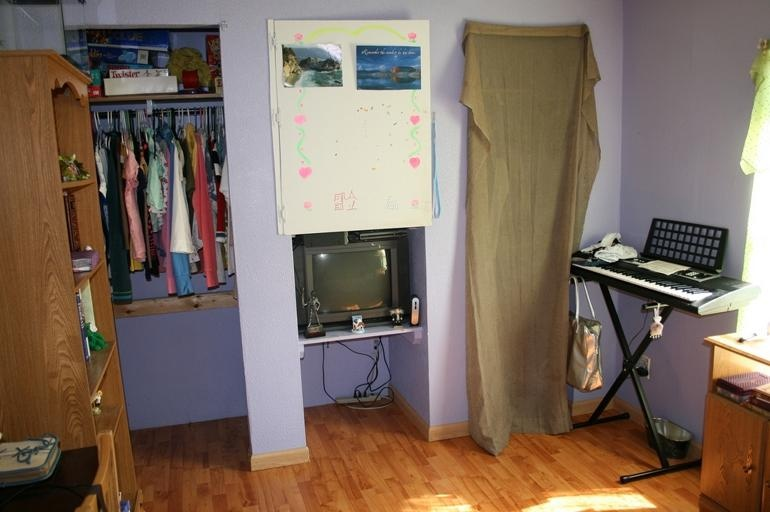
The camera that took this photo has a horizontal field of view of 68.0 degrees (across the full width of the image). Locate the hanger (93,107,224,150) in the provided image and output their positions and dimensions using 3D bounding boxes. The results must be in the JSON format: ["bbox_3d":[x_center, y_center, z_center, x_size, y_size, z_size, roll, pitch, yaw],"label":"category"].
[{"bbox_3d":[-1.630,-0.963,4.175,0.854,0.207,0.363,-3,3,-16],"label":"hanger"}]

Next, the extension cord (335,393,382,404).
[{"bbox_3d":[-0.229,1.190,4.732,0.283,0.039,0.049,4,51,-7],"label":"extension cord"}]

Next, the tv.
[{"bbox_3d":[-0.247,0.183,4.404,0.887,0.791,0.491,-5,4,-6],"label":"tv"}]

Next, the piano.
[{"bbox_3d":[1.751,0.160,3.646,0.468,0.171,0.995,-10,15,-30],"label":"piano"}]
